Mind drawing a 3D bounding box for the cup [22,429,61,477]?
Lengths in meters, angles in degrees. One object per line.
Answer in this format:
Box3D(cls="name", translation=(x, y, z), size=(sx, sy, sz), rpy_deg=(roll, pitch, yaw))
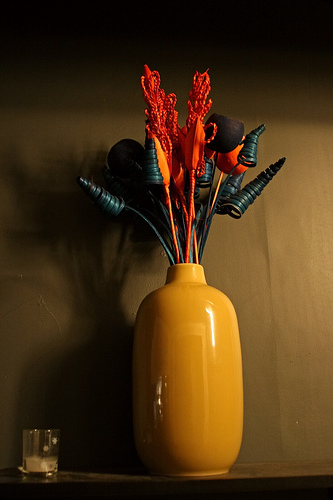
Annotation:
Box3D(cls="cup", translation=(-0.263, 0.425, 1.104), size=(0.085, 0.086, 0.089), rpy_deg=(3, 68, -8))
